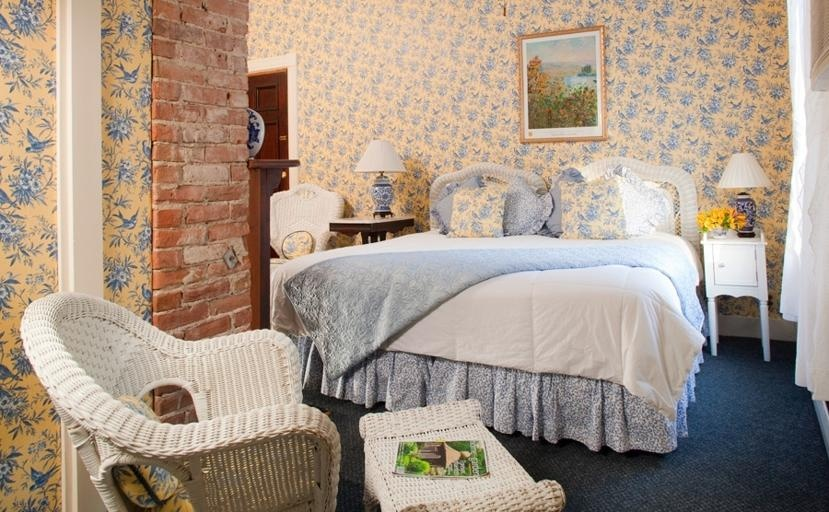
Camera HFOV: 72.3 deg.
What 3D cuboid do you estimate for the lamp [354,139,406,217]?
[{"bbox_3d":[-0.334,-0.760,5.783,0.527,0.751,0.532,-1,0,-23],"label":"lamp"}]

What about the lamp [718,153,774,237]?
[{"bbox_3d":[2.606,-0.472,4.513,0.400,0.650,0.399,-1,3,30],"label":"lamp"}]

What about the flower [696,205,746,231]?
[{"bbox_3d":[2.383,-0.274,4.488,0.247,0.141,0.230,0,-1,-11],"label":"flower"}]

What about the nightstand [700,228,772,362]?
[{"bbox_3d":[2.494,0.275,4.437,0.485,0.915,0.556,3,9,27],"label":"nightstand"}]
